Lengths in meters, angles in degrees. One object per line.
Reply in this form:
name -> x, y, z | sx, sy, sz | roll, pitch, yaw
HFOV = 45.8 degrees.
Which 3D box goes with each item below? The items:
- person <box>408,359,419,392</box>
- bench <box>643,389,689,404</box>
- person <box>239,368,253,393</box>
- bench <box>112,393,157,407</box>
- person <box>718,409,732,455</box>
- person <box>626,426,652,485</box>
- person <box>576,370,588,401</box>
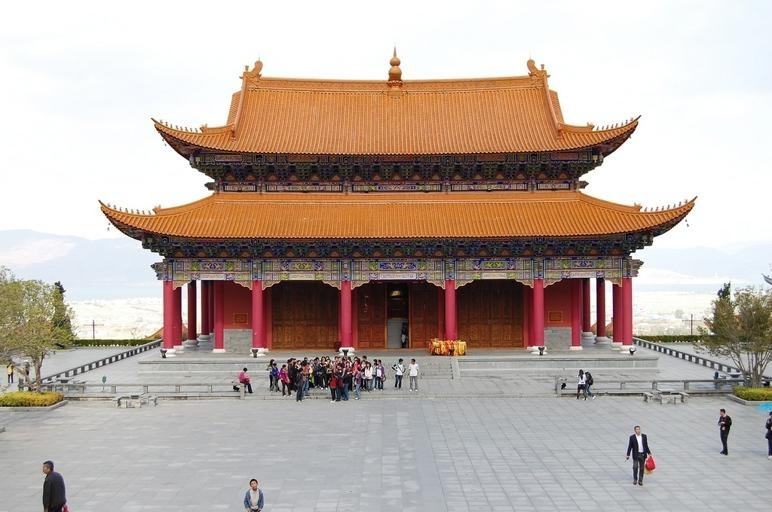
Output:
person -> 1.530, 6.800, 52.552 | 0.483, 1.787, 1.239 | -2, -6, 1
bench -> 15.438, 7.838, 50.805 | 2.439, 0.628, 0.904 | -2, -6, 5
person -> -8.033, 7.141, 52.456 | 0.729, 1.408, 1.804 | -1, -6, -9
bench -> -13.891, 8.045, 50.794 | 2.423, 0.683, 1.130 | 0, -6, -14
person -> 16.311, 8.437, 44.176 | 0.484, 2.074, 1.598 | -4, -6, 19
person -> 11.285, 8.945, 41.062 | 0.721, 2.613, 0.745 | 2, -7, -30
person -> 10.891, 7.171, 51.197 | 0.599, 1.597, 0.689 | -3, -6, 10
